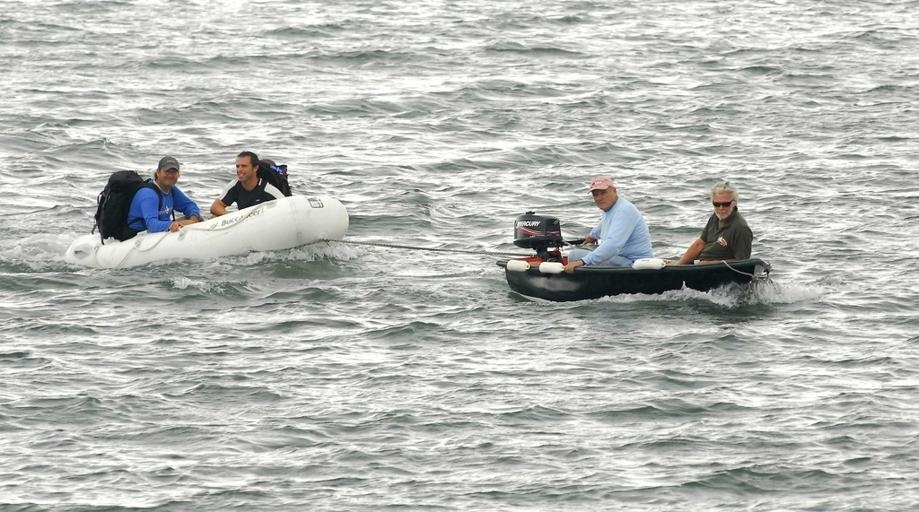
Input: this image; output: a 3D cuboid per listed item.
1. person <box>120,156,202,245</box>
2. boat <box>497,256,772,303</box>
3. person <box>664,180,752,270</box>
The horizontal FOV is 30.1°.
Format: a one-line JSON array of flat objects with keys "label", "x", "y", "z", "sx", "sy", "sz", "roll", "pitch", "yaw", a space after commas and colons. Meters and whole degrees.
[{"label": "person", "x": -5.522, "y": -1.088, "z": 32.023, "sx": 1.402, "sy": 1.658, "sz": 0.847, "roll": -6, "pitch": 30, "yaw": -23}, {"label": "boat", "x": 3.793, "y": 0.416, "z": 30.597, "sx": 6.049, "sy": 0.545, "sz": 1.194, "roll": -1, "pitch": -2, "yaw": 10}, {"label": "person", "x": 4.665, "y": -0.541, "z": 30.288, "sx": 1.215, "sy": 1.657, "sz": 0.610, "roll": 13, "pitch": 29, "yaw": 14}]
